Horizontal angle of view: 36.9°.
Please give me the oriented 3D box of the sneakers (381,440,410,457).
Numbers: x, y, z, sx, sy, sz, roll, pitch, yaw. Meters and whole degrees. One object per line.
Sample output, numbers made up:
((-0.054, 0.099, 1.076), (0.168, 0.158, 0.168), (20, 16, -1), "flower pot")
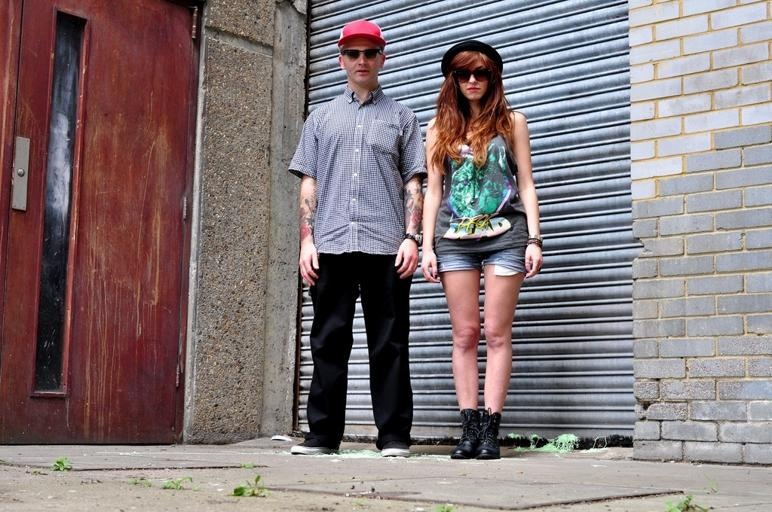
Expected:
((0.051, 1.095, 6.453), (0.157, 0.090, 0.123), (1, -11, 0), "sneakers")

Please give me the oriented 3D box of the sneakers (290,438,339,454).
((-0.398, 1.116, 6.582), (0.238, 0.095, 0.099), (8, -12, -11), "sneakers")

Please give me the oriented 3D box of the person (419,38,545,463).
((0.534, -0.027, 6.554), (0.653, 2.366, 0.386), (2, -11, -4), "person")

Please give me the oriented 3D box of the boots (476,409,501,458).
((0.561, 1.009, 6.408), (0.122, 0.277, 0.171), (0, -11, 6), "boots")

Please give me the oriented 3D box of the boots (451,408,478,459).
((0.447, 1.012, 6.474), (0.138, 0.250, 0.345), (-3, 5, 22), "boots")

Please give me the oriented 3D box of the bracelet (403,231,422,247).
((0.151, -0.081, 6.589), (0.083, 0.049, 0.083), (24, -10, -31), "bracelet")

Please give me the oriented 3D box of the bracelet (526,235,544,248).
((0.834, -0.069, 6.522), (0.069, 0.052, 0.069), (3, -3, -21), "bracelet")
